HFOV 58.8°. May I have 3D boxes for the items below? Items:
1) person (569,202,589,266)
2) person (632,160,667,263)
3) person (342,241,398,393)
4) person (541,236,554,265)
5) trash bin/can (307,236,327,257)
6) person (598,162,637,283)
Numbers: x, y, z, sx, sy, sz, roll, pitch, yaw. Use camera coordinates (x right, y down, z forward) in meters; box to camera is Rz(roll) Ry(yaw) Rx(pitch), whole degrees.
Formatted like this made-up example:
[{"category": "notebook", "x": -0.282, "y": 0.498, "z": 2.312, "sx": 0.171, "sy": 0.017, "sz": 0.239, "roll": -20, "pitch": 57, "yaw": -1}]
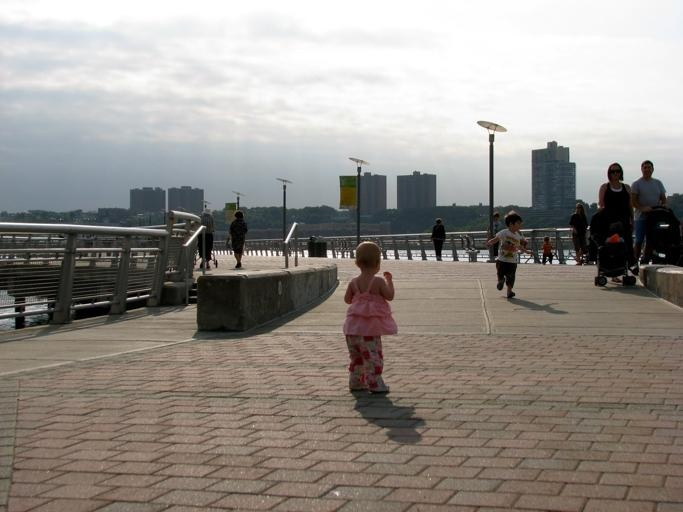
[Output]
[{"category": "person", "x": 7.905, "y": -0.791, "z": 20.182, "sx": 0.494, "sy": 2.090, "sz": 1.473, "roll": 0, "pitch": 2, "yaw": 20}, {"category": "person", "x": 5.909, "y": -0.889, "z": 11.640, "sx": 0.581, "sy": 1.881, "sz": 0.760, "roll": 0, "pitch": 2, "yaw": 27}, {"category": "person", "x": 0.245, "y": 0.486, "z": 5.047, "sx": 0.420, "sy": 1.218, "sz": 0.408, "roll": -1, "pitch": 2, "yaw": 2}, {"category": "person", "x": 8.723, "y": -0.330, "z": 25.580, "sx": 0.423, "sy": 1.123, "sz": 0.843, "roll": -1, "pitch": 2, "yaw": 17}, {"category": "trash bin/can", "x": -1.619, "y": -0.707, "z": 41.489, "sx": 1.124, "sy": 1.267, "sz": 1.968, "roll": -1, "pitch": 3, "yaw": -6}, {"category": "person", "x": 5.220, "y": -0.768, "z": 11.308, "sx": 0.706, "sy": 1.940, "sz": 0.418, "roll": -2, "pitch": 2, "yaw": -27}]
